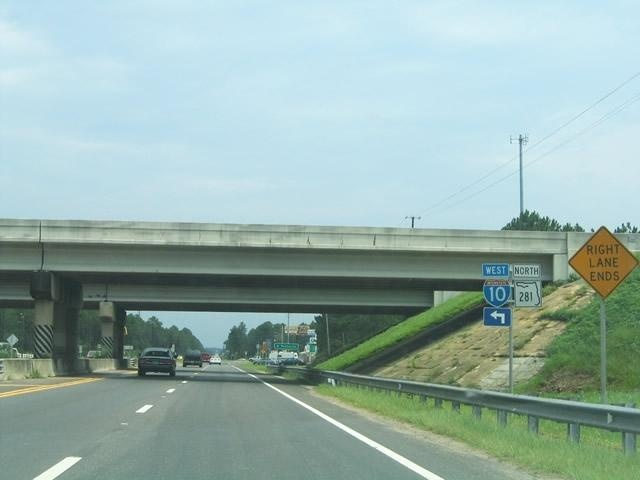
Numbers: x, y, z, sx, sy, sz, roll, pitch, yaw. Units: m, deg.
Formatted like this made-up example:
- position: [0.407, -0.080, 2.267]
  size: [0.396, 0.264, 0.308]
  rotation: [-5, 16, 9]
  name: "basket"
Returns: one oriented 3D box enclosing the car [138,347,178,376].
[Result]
- position: [-8.576, 6.430, 61.515]
  size: [1.615, 1.571, 2.555]
  rotation: [-3, -10, 6]
  name: "car"
